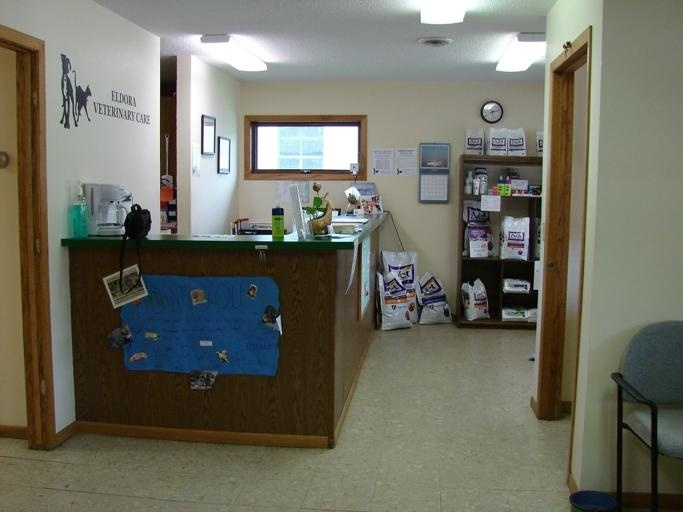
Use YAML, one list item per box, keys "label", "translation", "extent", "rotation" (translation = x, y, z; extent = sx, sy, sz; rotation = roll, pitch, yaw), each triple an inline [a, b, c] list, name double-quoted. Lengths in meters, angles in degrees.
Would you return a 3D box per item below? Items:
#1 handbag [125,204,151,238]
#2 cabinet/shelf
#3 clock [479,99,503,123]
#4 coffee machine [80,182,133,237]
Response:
- label: "handbag"
  translation: [-1.313, -0.220, 3.629]
  extent: [0.127, 0.241, 0.223]
  rotation: [0, 9, 11]
- label: "cabinet/shelf"
  translation: [1.748, -0.171, 6.268]
  extent: [0.903, 1.889, 0.731]
  rotation: [0, 6, 17]
- label: "clock"
  translation: [1.705, -1.647, 6.391]
  extent: [0.250, 0.263, 0.047]
  rotation: [2, 18, -1]
- label: "coffee machine"
  translation: [-1.600, -0.318, 3.828]
  extent: [0.284, 0.350, 0.234]
  rotation: [-2, 6, -6]
